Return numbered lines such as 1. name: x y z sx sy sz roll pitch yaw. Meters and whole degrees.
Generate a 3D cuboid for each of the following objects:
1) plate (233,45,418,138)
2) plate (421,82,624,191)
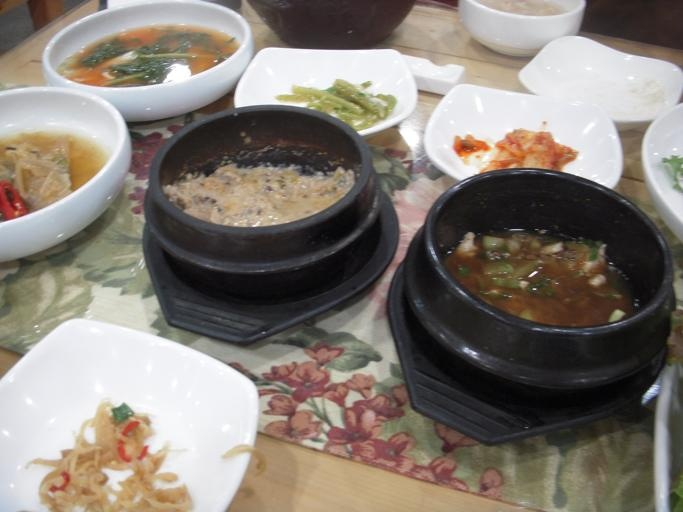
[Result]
1. plate: -0.043 -0.598 2.071 0.640 0.128 0.370 -1 54 -1
2. plate: 0.600 -0.380 1.820 0.622 0.112 0.350 10 54 9
